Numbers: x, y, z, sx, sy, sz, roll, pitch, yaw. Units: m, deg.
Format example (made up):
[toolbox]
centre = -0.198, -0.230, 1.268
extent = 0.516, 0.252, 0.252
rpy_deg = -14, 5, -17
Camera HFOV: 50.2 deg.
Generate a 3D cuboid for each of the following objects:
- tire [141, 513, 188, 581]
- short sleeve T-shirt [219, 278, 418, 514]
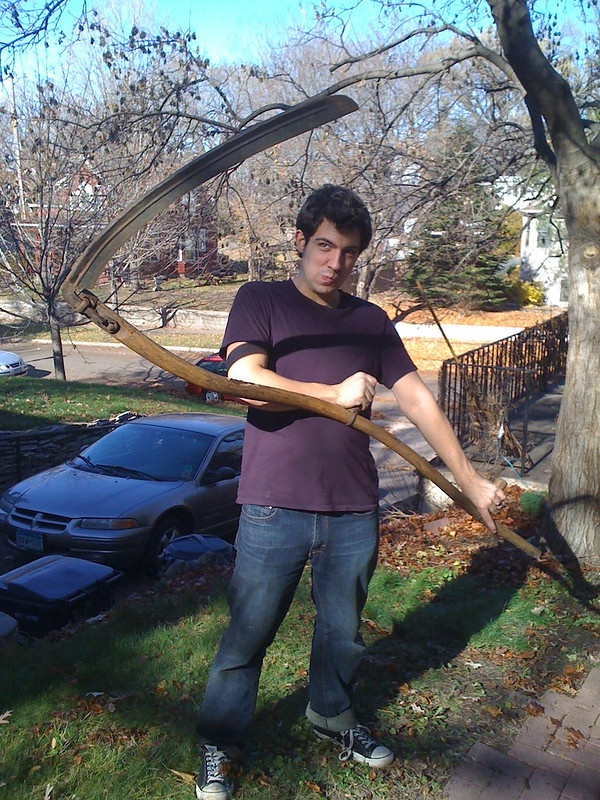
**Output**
[tire]
centre = -1.306, 1.410, 6.061
extent = 0.201, 0.533, 0.601
rpy_deg = -9, -15, 27
[short sleeve T-shirt]
centre = 0.050, -0.024, 2.156
extent = 0.730, 0.749, 0.310
rpy_deg = 3, 4, -24
